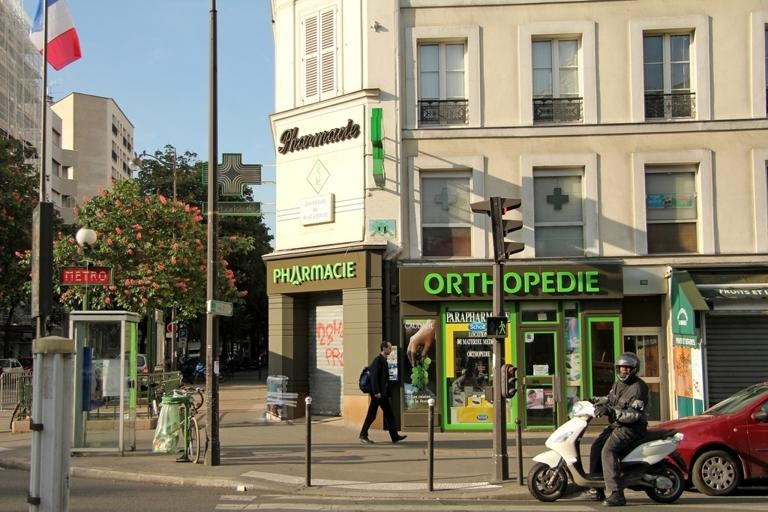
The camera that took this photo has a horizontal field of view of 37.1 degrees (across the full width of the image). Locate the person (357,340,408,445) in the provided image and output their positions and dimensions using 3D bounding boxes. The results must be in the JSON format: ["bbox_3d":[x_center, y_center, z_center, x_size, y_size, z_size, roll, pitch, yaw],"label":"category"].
[{"bbox_3d":[-0.123,3.994,33.202,1.212,2.918,0.751,-2,-7,-2],"label":"person"}]

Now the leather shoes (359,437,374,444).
[{"bbox_3d":[-0.484,5.340,32.836,0.389,0.287,0.148,-2,-6,10],"label":"leather shoes"}]
